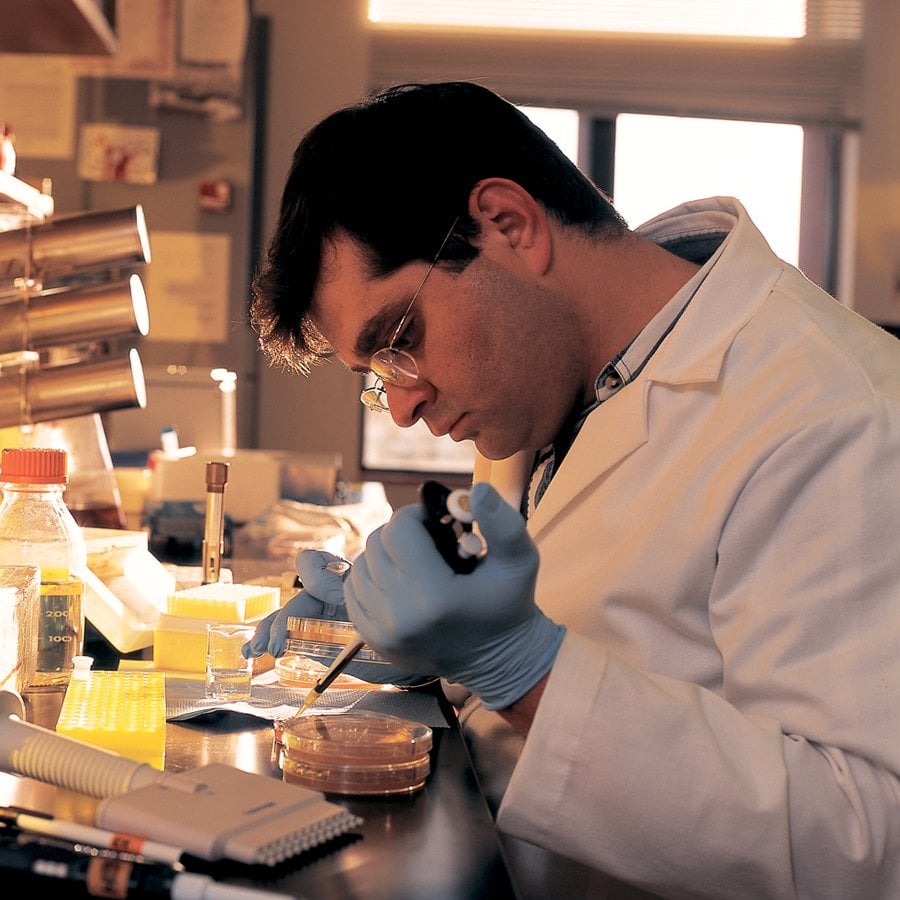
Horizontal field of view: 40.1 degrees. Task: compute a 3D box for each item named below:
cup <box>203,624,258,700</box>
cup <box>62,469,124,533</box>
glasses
[{"bbox_3d":[-0.288,0.279,1.606,0.073,0.134,0.077,1,-11,0],"label":"cup"},{"bbox_3d":[-0.752,0.101,2.594,0.111,0.203,0.107,-8,-7,-1],"label":"cup"},{"bbox_3d":[-0.087,-0.190,1.636,0.058,0.208,0.196,25,-11,8],"label":"glasses"}]
